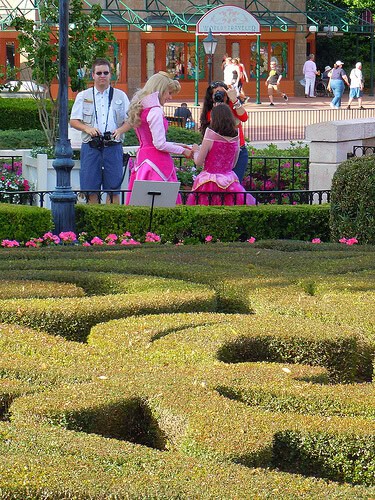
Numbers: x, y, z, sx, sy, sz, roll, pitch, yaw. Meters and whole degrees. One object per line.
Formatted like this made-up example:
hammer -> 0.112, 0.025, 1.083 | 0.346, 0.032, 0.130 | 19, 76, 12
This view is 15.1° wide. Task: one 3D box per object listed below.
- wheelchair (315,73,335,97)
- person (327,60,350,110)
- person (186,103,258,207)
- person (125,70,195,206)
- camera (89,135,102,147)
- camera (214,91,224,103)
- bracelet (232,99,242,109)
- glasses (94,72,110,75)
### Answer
wheelchair -> 3.876, -4.417, 38.573 | 0.670, 0.649, 0.422 | -8, 30, -6
person -> 3.198, -3.539, 30.305 | 0.379, 1.012, 0.486 | 3, 10, 10
person -> 0.261, -0.786, 11.819 | 0.576, 0.874, 0.788 | -1, 6, 1
person -> -0.235, -0.878, 11.262 | 0.545, 1.065, 0.795 | -1, 6, -3
camera -> -0.772, -0.883, 11.612 | 0.081, 0.089, 0.093 | 4, 42, 5
camera -> 0.250, -1.254, 11.602 | 0.065, 0.099, 0.094 | -4, 19, -16
bracelet -> 0.418, -1.253, 12.041 | 0.066, 0.071, 0.097 | 1, 34, -5
glasses -> -0.715, -1.458, 11.709 | 0.145, 0.036, 0.101 | -4, 8, -29
